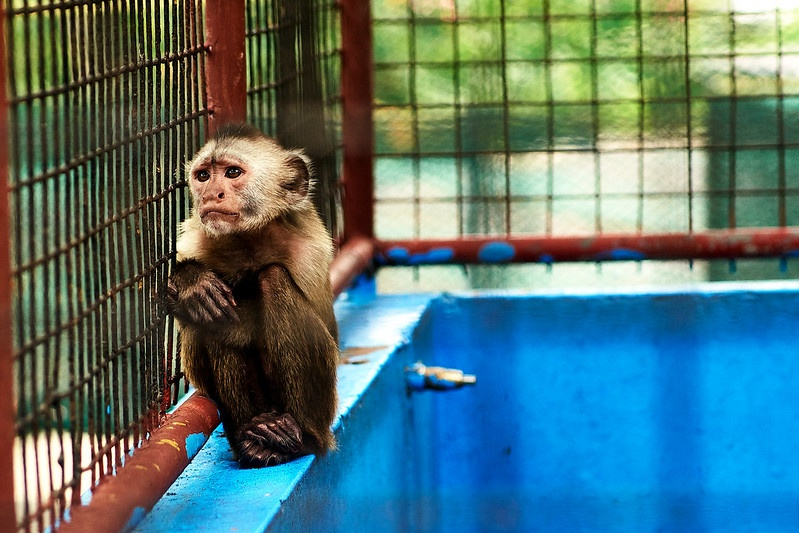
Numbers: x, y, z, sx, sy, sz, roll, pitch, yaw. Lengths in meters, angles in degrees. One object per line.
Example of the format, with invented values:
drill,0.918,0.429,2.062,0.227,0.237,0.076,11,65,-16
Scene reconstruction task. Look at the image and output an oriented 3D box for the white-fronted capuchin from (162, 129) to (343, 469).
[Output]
white-fronted capuchin,-0.619,0.099,3.912,0.654,1.435,0.450,-1,-4,-13
